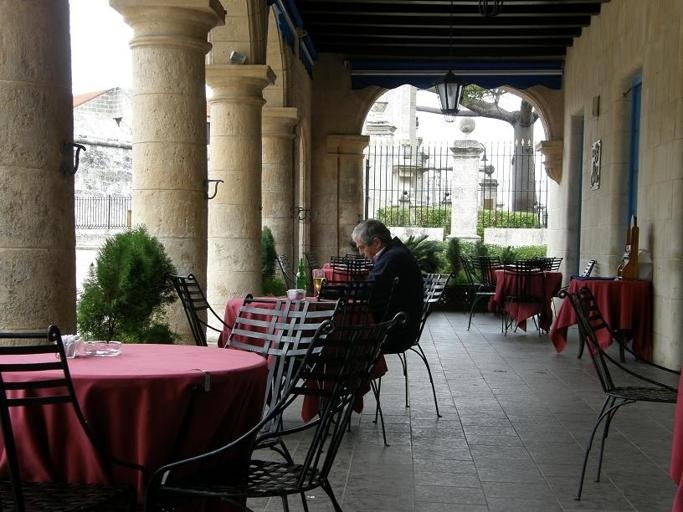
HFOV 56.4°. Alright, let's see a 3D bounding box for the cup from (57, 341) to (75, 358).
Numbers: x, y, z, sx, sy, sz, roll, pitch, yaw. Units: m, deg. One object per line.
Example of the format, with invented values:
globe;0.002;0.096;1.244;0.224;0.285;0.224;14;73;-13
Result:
cup;-1.258;0.432;2.931;0.056;0.077;0.062;0;2;-7
